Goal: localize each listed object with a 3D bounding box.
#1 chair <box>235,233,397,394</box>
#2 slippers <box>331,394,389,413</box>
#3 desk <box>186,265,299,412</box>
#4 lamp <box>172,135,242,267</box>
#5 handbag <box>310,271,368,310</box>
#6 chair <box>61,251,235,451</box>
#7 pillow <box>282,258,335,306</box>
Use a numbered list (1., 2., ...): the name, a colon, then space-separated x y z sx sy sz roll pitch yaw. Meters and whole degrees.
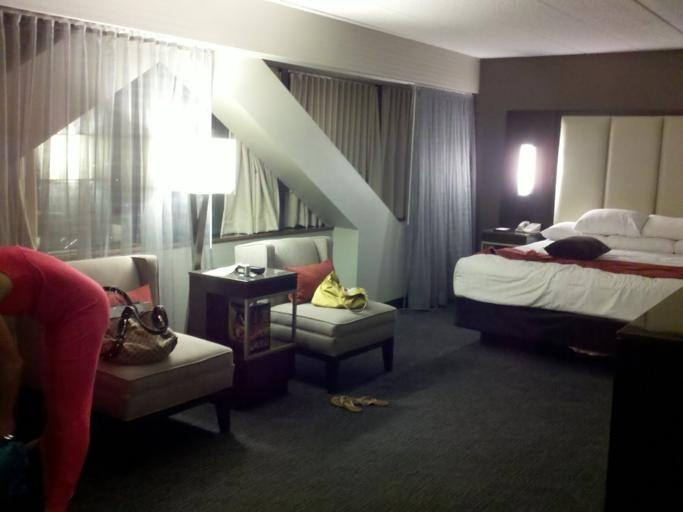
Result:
1. chair: -0.155 0.344 4.598 1.365 1.385 1.019 7 10 42
2. slippers: 0.092 1.050 3.704 0.197 0.043 0.162 2 5 40
3. desk: -0.717 0.719 3.907 0.702 0.965 0.577 -6 19 38
4. lamp: -1.065 -0.424 4.008 0.493 1.021 0.416 -2 11 -15
5. handbag: -0.016 0.279 4.127 0.324 0.114 0.281 5 36 13
6. chair: -1.269 0.602 3.276 0.975 1.192 1.025 -4 2 -42
7. pillow: -0.257 0.213 4.449 0.172 0.340 0.511 -1 6 41
